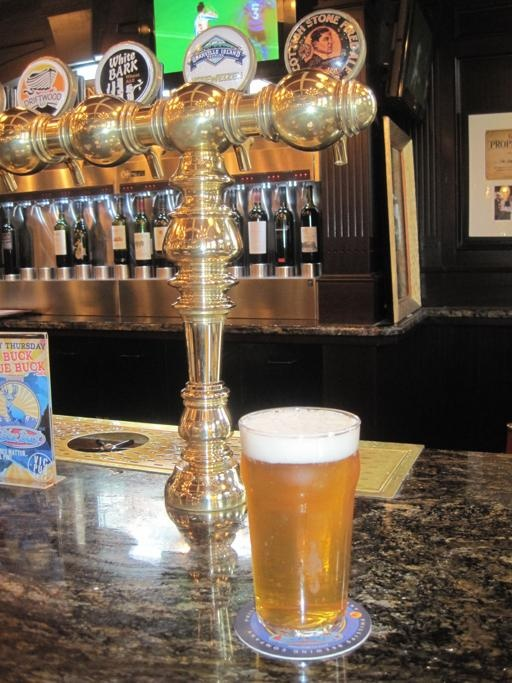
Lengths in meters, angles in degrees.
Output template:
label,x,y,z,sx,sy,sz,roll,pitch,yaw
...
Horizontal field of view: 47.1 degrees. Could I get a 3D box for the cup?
label,x,y,z,sx,sy,sz,roll,pitch,yaw
cup,0.033,0.134,0.450,0.093,0.154,0.119,-2,3,-20
